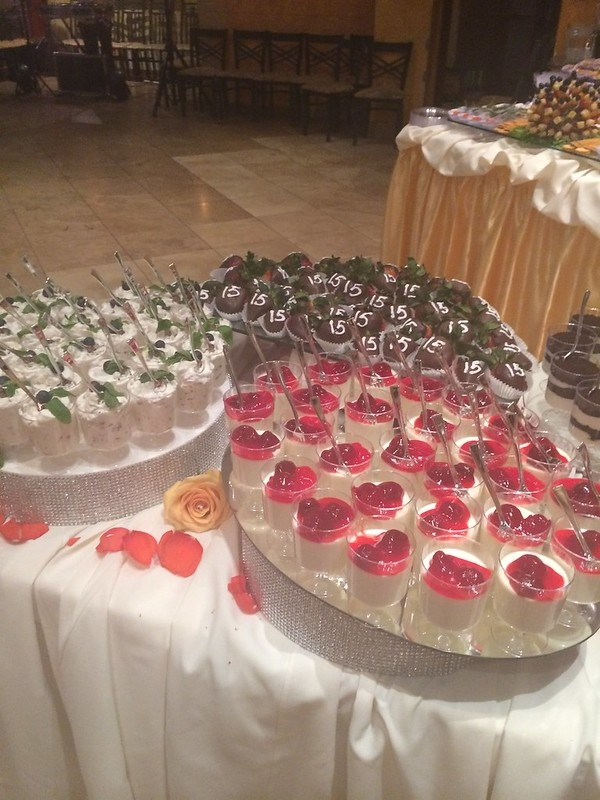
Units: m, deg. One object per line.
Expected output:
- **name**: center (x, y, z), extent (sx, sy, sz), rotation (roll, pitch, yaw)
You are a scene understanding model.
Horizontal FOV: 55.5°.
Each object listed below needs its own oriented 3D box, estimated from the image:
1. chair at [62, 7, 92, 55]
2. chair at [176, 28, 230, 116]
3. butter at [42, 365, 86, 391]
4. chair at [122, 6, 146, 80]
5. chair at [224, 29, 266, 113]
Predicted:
- **chair**: center (-3.766, -6.252, 9.698), extent (0.522, 0.626, 0.962), rotation (-7, 30, -19)
- **chair**: center (-1.684, -5.612, 9.870), extent (0.853, 1.288, 1.467), rotation (0, 29, -8)
- **butter**: center (-0.536, -0.058, 1.282), extent (0.075, 0.043, 0.070), rotation (4, 24, -6)
- **chair**: center (-3.135, -6.602, 10.588), extent (0.555, 1.181, 1.077), rotation (-5, 30, -15)
- **chair**: center (-0.861, -5.518, 9.642), extent (0.573, 1.155, 1.482), rotation (0, 29, -8)
